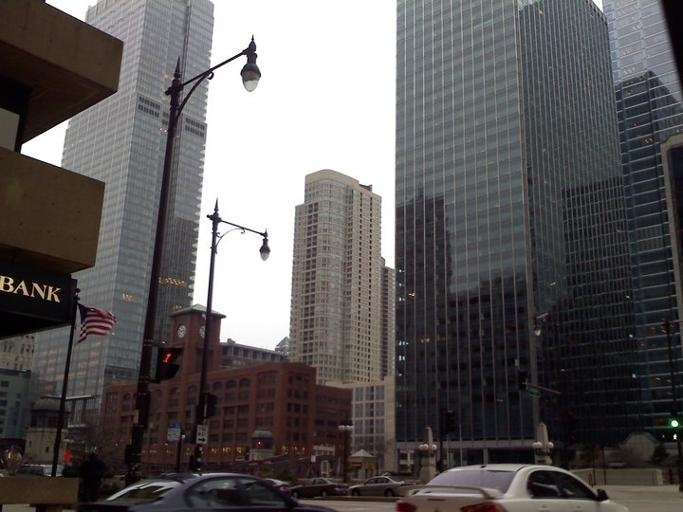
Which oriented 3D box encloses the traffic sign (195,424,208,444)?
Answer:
[{"bbox_3d":[-6.007,7.621,30.246,0.150,1.131,0.828,-14,-18,32],"label":"traffic sign"}]
